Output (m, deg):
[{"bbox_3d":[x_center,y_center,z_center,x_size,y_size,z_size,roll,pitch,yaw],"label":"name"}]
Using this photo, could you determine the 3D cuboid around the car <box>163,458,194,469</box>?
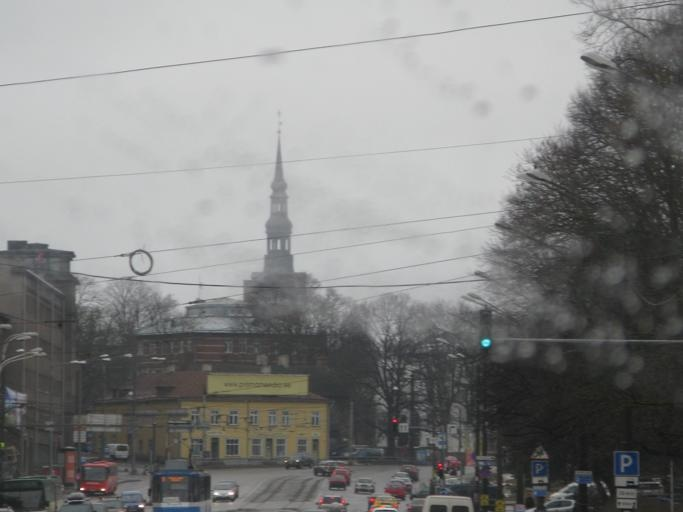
[{"bbox_3d":[-9.728,12.622,118.559,1.646,0.871,2.197,0,-14,-5],"label":"car"}]

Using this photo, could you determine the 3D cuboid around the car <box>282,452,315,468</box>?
[{"bbox_3d":[-3.473,16.405,156.585,1.078,0.818,2.102,-5,-13,30],"label":"car"}]

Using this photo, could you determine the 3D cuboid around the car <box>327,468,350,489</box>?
[{"bbox_3d":[-0.225,15.909,139.674,1.197,0.868,2.688,0,5,3],"label":"car"}]

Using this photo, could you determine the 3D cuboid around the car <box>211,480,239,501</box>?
[{"bbox_3d":[-7.830,15.901,132.458,1.435,0.987,2.943,1,6,0],"label":"car"}]
